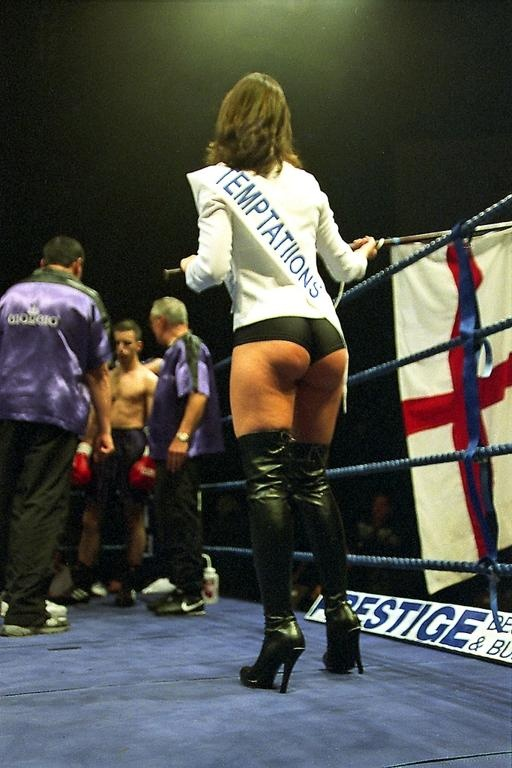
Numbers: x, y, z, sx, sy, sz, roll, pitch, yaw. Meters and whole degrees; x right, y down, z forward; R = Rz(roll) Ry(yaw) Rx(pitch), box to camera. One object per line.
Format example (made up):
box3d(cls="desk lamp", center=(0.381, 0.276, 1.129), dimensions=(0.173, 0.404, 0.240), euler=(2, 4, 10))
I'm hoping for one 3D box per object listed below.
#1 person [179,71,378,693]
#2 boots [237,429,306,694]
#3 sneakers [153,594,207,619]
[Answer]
box3d(cls="person", center=(0.047, -0.050, 1.743), dimensions=(0.268, 1.369, 0.459), euler=(-10, -14, 42))
box3d(cls="boots", center=(0.027, 0.356, 1.601), dimensions=(0.118, 0.520, 0.136), euler=(1, -11, -9))
box3d(cls="sneakers", center=(-0.272, 0.790, 2.756), dimensions=(0.213, 0.126, 0.067), euler=(6, -20, -2))
